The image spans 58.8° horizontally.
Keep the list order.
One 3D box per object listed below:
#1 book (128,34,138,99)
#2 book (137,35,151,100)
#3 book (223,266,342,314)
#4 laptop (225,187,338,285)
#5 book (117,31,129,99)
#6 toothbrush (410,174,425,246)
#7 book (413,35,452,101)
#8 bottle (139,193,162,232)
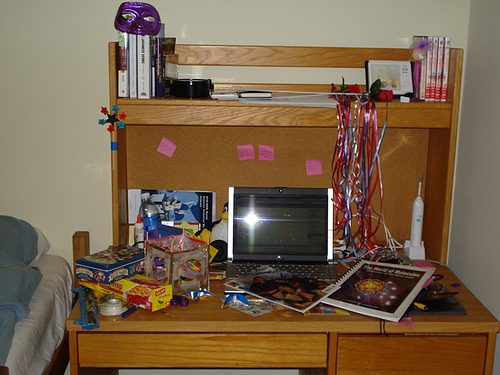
[{"bbox_3d":[-0.475,-0.491,1.792,0.036,0.252,0.014,0,5,-13],"label":"book"},{"bbox_3d":[-0.431,-0.489,1.794,0.054,0.253,0.016,0,5,-14],"label":"book"},{"bbox_3d":[0.121,0.396,1.693,0.380,0.079,0.220,4,5,33],"label":"book"},{"bbox_3d":[0.116,0.212,1.760,0.497,0.303,0.400,-2,19,-1],"label":"laptop"},{"bbox_3d":[-0.515,-0.494,1.791,0.049,0.263,0.021,1,5,-6],"label":"book"},{"bbox_3d":[0.762,0.104,2.022,0.045,0.315,0.134,3,5,20],"label":"toothbrush"},{"bbox_3d":[0.782,-0.498,1.871,0.109,0.264,0.040,3,5,17],"label":"book"},{"bbox_3d":[-0.477,0.118,2.085,0.092,0.163,0.160,0,5,-14],"label":"bottle"}]
